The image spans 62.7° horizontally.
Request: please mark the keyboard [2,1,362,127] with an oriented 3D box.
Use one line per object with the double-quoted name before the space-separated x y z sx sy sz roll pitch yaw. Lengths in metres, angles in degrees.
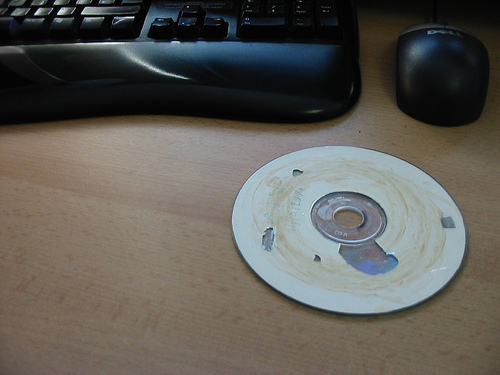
"keyboard" -0.101 -0.182 0.560 0.492 0.060 0.209 0 67 6
